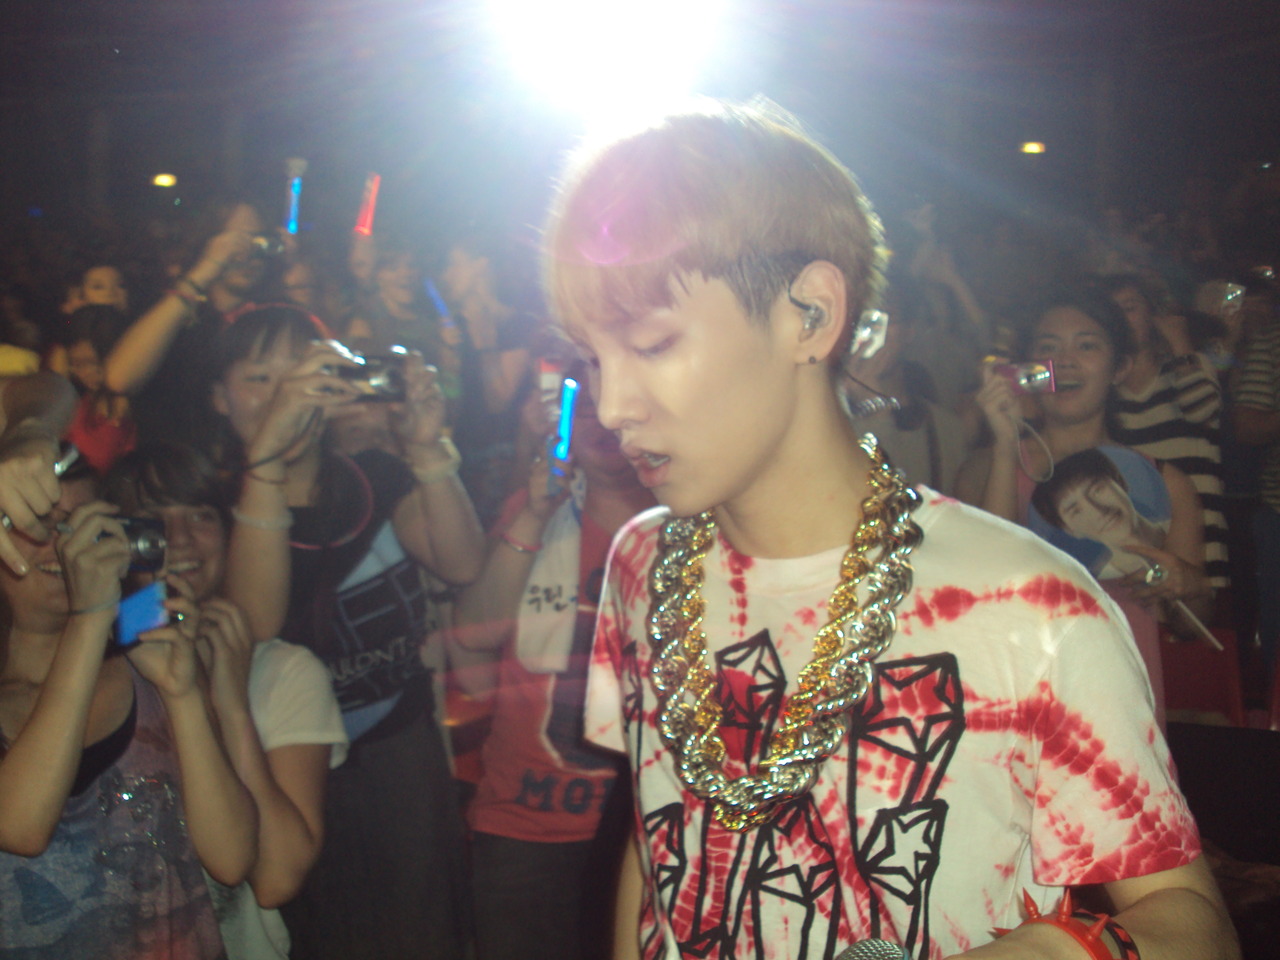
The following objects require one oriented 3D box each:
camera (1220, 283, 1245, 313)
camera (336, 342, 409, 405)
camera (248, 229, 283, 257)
[{"bbox_3d":[2.330,-0.717,4.915,0.072,0.114,0.121,8,-11,32],"label":"camera"},{"bbox_3d":[-0.874,-0.351,4.174,0.266,0.169,0.202,1,-2,-13],"label":"camera"},{"bbox_3d":[-1.192,-0.766,4.034,0.082,0.087,0.048,10,14,12],"label":"camera"}]
